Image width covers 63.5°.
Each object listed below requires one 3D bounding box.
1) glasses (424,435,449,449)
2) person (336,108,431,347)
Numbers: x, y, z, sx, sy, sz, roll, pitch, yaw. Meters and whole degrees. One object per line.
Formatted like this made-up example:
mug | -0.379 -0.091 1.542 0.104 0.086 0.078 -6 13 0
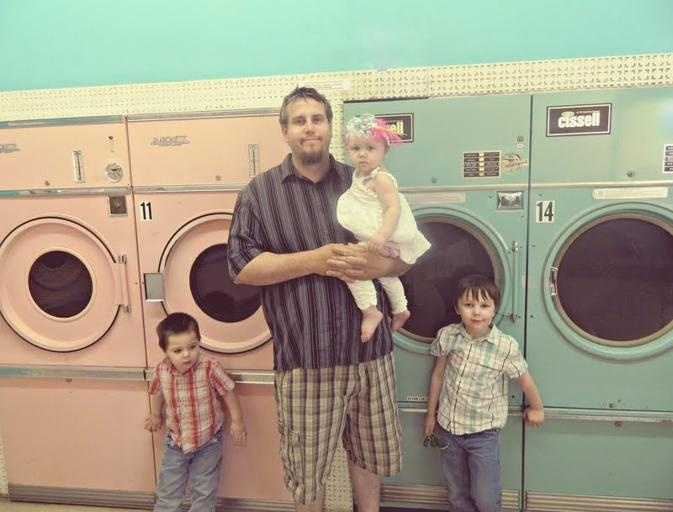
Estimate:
glasses | 0.563 1.052 3.117 0.166 0.070 0.055 -1 0 19
person | 0.224 -0.130 2.639 0.447 1.093 0.239 1 10 9
